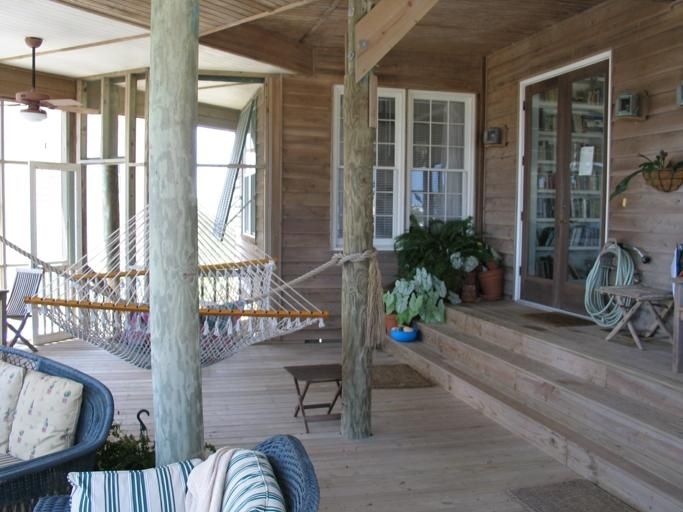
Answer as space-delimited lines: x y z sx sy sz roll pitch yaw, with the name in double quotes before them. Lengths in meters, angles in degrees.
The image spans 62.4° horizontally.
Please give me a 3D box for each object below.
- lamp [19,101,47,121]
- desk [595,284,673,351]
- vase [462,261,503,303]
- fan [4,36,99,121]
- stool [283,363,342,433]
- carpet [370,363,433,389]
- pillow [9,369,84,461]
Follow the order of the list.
"lamp" -3.419 -1.592 6.268 0.223 0.196 0.216 -3 9 -20
"desk" 2.652 0.481 5.004 0.568 0.446 0.564 -4 6 -28
"vase" 1.811 0.332 7.179 0.564 0.464 0.300 -8 11 -41
"fan" -3.276 -2.026 6.588 1.063 1.026 1.166 0 2 -6
"stool" -0.250 1.217 4.976 0.585 0.476 0.553 1 0 -12
"carpet" 0.629 1.275 6.070 0.626 0.050 0.858 0 8 1
"pillow" -1.719 0.911 3.245 0.491 0.455 0.324 8 6 39
